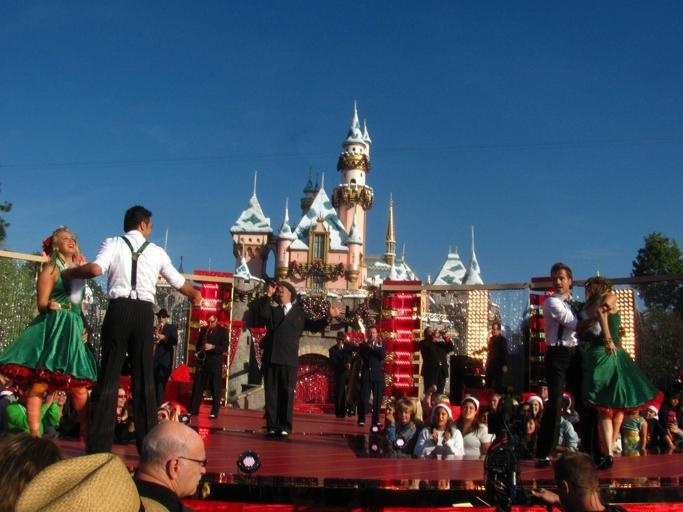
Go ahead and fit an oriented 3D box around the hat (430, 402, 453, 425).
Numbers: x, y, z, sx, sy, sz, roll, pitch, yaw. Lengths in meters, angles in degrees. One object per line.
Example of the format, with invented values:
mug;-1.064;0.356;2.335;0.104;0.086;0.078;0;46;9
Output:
hat;1.262;1.962;11.018;0.200;0.249;0.287;0;-25;8

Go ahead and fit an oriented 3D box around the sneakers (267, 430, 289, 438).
sneakers;-0.849;2.363;11.618;0.272;0.127;0.108;-1;-2;12

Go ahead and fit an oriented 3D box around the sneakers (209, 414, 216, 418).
sneakers;-2.263;2.810;15.263;0.067;0.058;0.134;1;-19;-2

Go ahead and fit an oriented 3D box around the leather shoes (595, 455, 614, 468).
leather shoes;2.933;2.291;9.693;0.110;0.158;0.331;0;-12;8

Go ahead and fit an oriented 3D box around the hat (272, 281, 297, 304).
hat;-0.792;0.510;12.029;0.249;0.329;0.274;-5;4;6

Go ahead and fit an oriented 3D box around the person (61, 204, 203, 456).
person;-2.281;0.755;9.280;1.133;2.619;0.416;5;-10;-21

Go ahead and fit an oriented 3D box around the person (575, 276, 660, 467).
person;3.183;1.325;10.082;0.930;2.275;0.685;-1;-9;33

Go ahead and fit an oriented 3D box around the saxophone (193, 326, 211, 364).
saxophone;-2.553;1.670;15.931;0.204;0.663;0.451;6;7;-8
